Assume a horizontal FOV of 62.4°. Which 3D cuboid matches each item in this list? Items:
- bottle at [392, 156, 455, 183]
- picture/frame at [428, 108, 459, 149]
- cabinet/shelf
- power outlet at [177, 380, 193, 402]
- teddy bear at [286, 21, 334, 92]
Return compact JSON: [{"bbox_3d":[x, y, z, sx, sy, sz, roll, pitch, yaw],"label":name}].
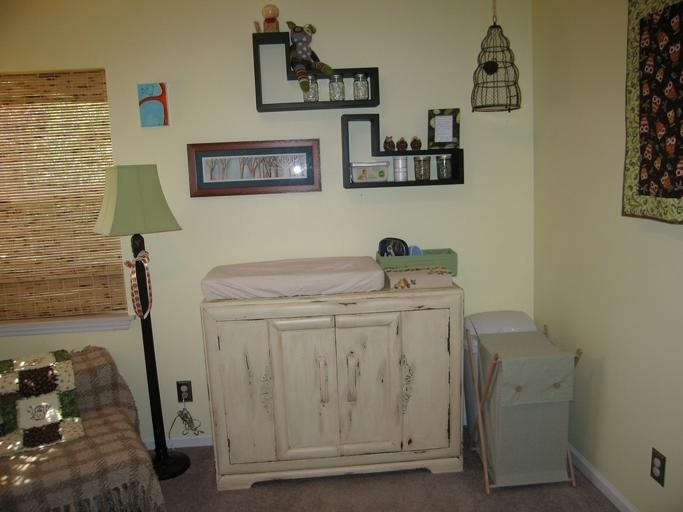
[{"bbox_3d":[0.563,-0.608,3.911,0.419,0.187,0.163,-3,7,-11],"label":"bottle"},{"bbox_3d":[0.711,-0.884,3.898,0.258,0.333,0.031,0,2,1],"label":"picture/frame"},{"bbox_3d":[-0.025,1.014,3.764,1.567,1.290,0.631,-2,-37,-6],"label":"cabinet/shelf"},{"bbox_3d":[-1.144,0.967,4.068,0.133,0.206,0.014,0,13,0],"label":"power outlet"},{"bbox_3d":[-0.227,-1.338,3.701,0.283,0.405,0.301,3,28,7],"label":"teddy bear"}]
